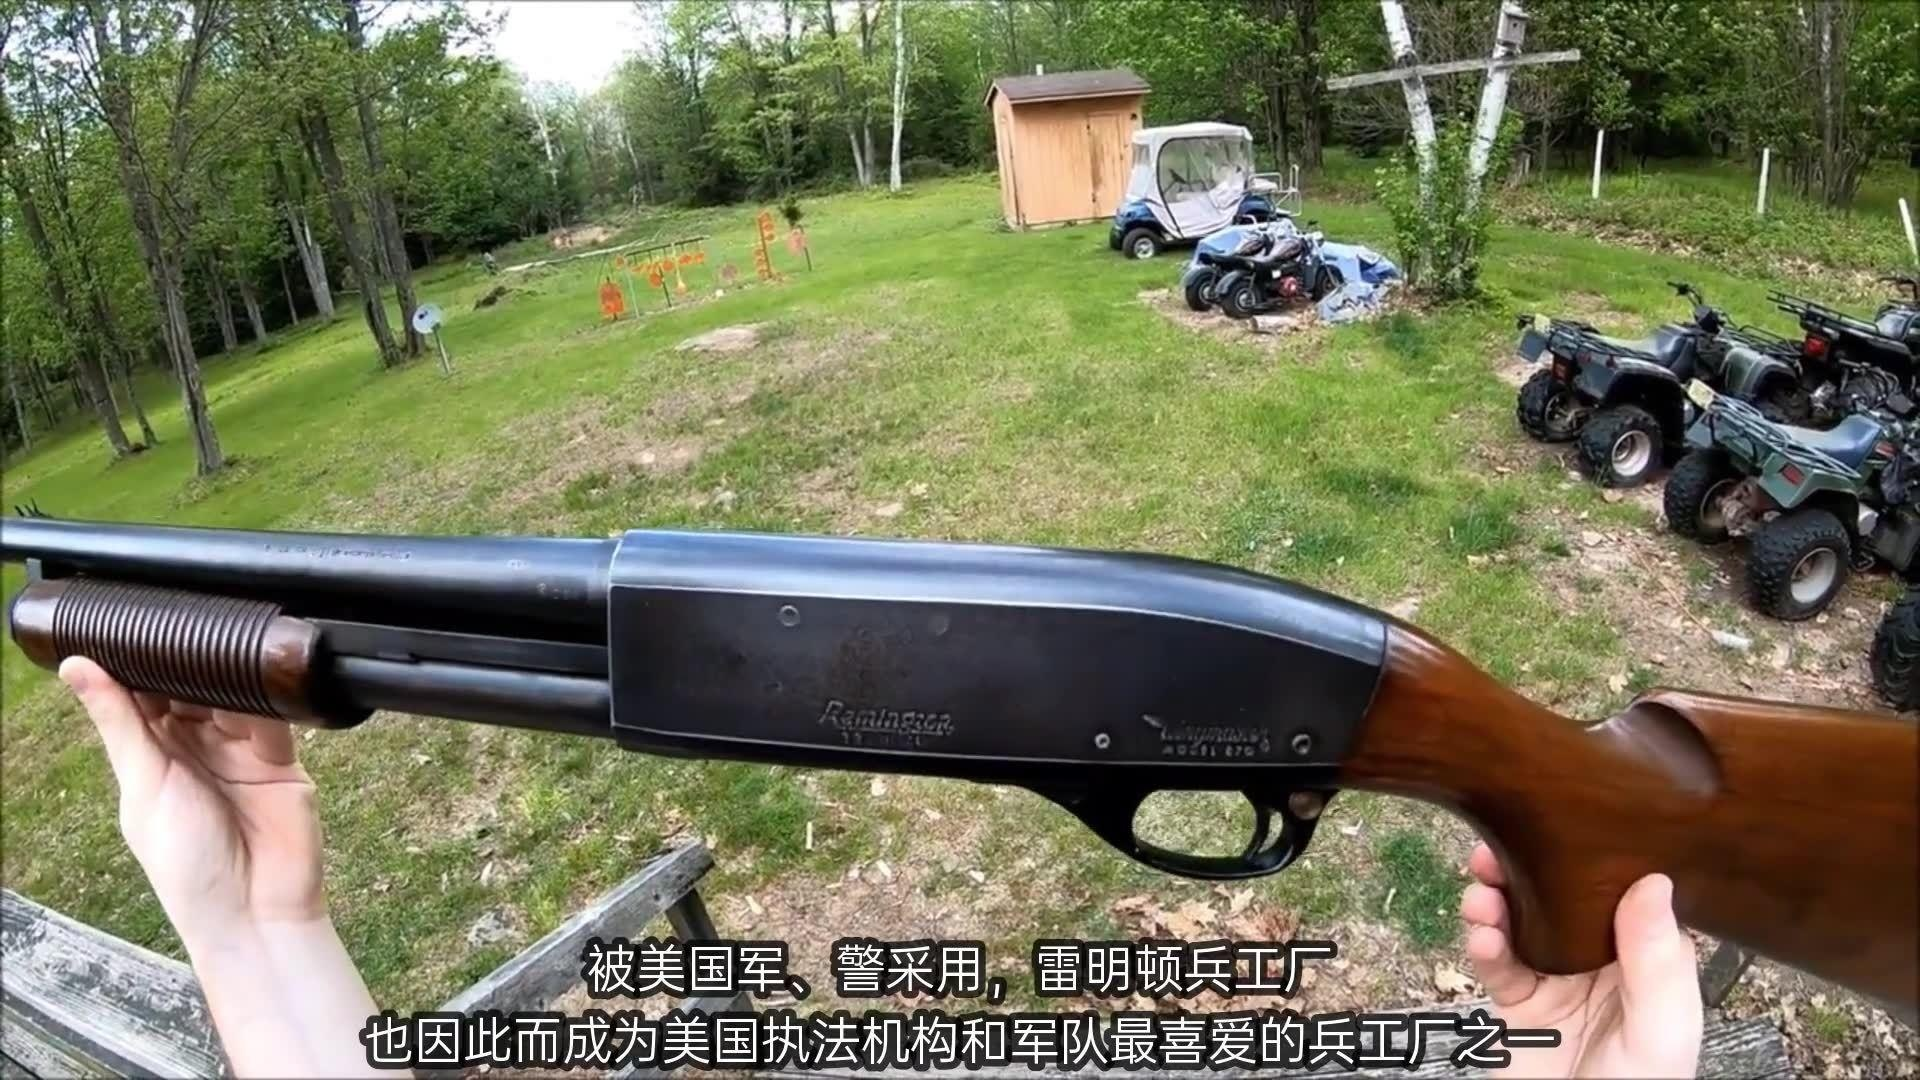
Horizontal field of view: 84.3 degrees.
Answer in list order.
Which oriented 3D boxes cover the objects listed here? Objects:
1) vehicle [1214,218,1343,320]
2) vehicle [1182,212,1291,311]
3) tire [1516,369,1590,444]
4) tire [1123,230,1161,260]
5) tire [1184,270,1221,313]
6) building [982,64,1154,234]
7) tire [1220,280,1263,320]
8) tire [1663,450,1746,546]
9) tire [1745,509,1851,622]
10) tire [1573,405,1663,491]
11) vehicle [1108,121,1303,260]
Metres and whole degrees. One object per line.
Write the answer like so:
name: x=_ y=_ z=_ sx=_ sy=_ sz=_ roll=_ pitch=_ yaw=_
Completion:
vehicle: x=2.954 y=-2.630 z=10.228 sx=1.479 sy=0.705 sz=0.639 roll=-22 pitch=27 yaw=-18
vehicle: x=2.831 y=-2.601 z=10.036 sx=1.383 sy=0.704 sz=0.637 roll=-12 pitch=-2 yaw=12
tire: x=4.055 y=-0.898 z=7.236 sx=0.530 sy=0.495 sz=0.253 roll=-3 pitch=13 yaw=-5
tire: x=2.070 y=-3.404 z=12.249 sx=0.354 sy=0.330 sz=0.121 roll=-3 pitch=18 yaw=-10
tire: x=2.311 y=-2.369 z=10.095 sx=0.393 sy=0.367 sz=0.135 roll=-8 pitch=15 yaw=-27
building: x=1.191 y=-4.676 z=12.868 sx=2.166 sy=1.975 sz=1.694 roll=-7 pitch=41 yaw=-7
tire: x=2.609 y=-2.230 z=9.905 sx=0.356 sy=0.341 sz=0.126 roll=23 pitch=-7 yaw=-38
tire: x=4.484 y=-0.235 z=6.371 sx=0.494 sy=0.467 sz=0.188 roll=15 pitch=7 yaw=-29
tire: x=4.727 y=0.151 z=6.001 sx=0.648 sy=0.604 sz=0.230 roll=2 pitch=13 yaw=-29
tire: x=4.301 y=-0.583 z=6.917 sx=0.488 sy=0.461 sz=0.171 roll=14 pitch=6 yaw=-24
vehicle: x=2.745 y=-4.073 z=12.489 sx=2.261 sy=1.317 sz=1.170 roll=-9 pitch=22 yaw=-15
